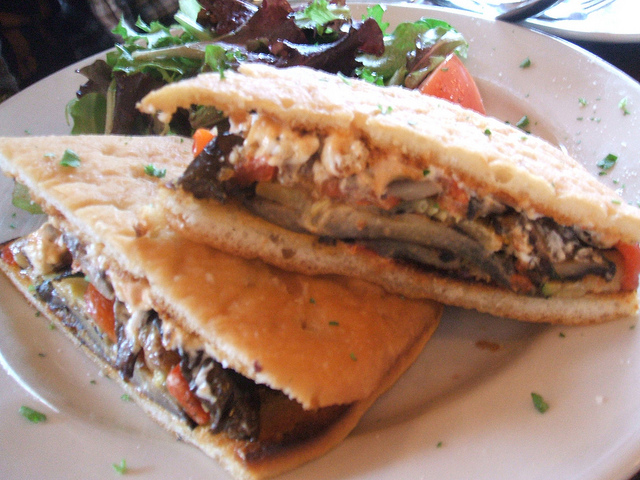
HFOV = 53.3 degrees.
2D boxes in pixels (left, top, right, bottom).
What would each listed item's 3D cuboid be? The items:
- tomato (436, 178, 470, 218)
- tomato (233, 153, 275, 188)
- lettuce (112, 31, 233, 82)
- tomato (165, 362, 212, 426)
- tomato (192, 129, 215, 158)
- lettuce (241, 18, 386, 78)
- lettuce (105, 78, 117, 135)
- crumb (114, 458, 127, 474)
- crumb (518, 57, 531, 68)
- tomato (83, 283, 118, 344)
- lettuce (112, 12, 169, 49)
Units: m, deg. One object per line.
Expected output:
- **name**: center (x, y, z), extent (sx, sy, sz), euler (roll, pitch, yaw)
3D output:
- **tomato**: center (0.622, -0.192, 2.985), extent (0.170, 0.164, 0.102), euler (23, 75, 10)
- **tomato**: center (-0.307, -0.314, 2.959), extent (0.180, 0.117, 0.106), euler (16, 74, 8)
- **lettuce**: center (-1.016, -1.176, 4.011), extent (0.525, 0.201, 0.525), euler (-5, 43, -23)
- **tomato**: center (-0.642, 0.756, 3.119), extent (0.158, 0.106, 0.324), euler (-36, 91, 16)
- **tomato**: center (-0.612, -0.510, 3.240), extent (0.138, 0.047, 0.138), euler (-42, 47, 4)
- **lettuce**: center (-0.067, -1.147, 3.773), extent (0.508, 0.162, 0.525), euler (14, 32, 27)
- **lettuce**: center (-1.322, -0.898, 4.034), extent (0.080, 0.416, 0.045), euler (-7, 77, -22)
- **crumb**: center (-0.940, 1.074, 3.006), extent (0.055, 0.026, 0.065), euler (-29, 74, -6)
- **crumb**: center (1.422, -1.222, 4.412), extent (0.066, 0.020, 0.074), euler (-42, 51, 15)
- **tomato**: center (-1.103, 0.359, 3.279), extent (0.061, 0.203, 0.269), euler (-27, 80, -22)
- **lettuce**: center (-1.175, -1.332, 4.124), extent (0.287, 0.118, 0.289), euler (-11, 35, -22)
